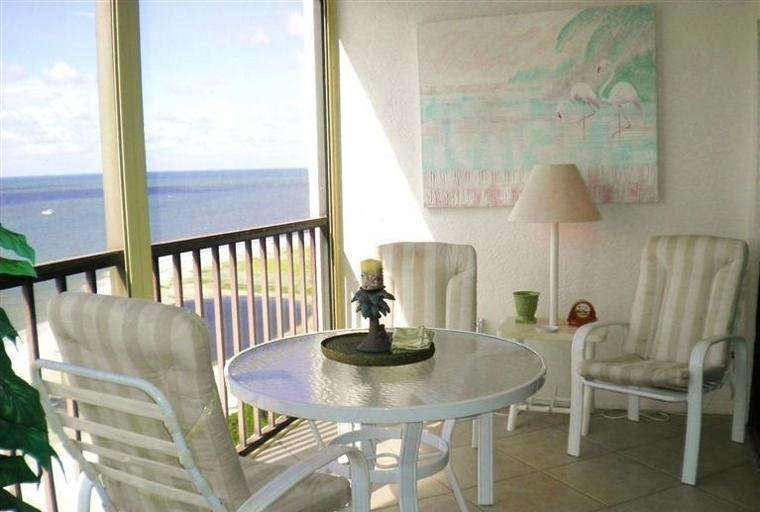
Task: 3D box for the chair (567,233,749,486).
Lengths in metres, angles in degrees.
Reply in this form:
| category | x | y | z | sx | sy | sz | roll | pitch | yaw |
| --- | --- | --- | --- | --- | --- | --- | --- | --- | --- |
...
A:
| category | x | y | z | sx | sy | sz | roll | pitch | yaw |
| --- | --- | --- | --- | --- | --- | --- | --- | --- | --- |
| chair | 1.678 | 0.540 | 3.764 | 0.956 | 1.218 | 0.882 | -7 | 8 | -31 |

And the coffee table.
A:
| category | x | y | z | sx | sy | sz | roll | pitch | yaw |
| --- | --- | --- | --- | --- | --- | --- | --- | --- | --- |
| coffee table | 1.147 | 0.751 | 4.273 | 0.750 | 0.679 | 0.753 | 4 | 11 | 27 |
